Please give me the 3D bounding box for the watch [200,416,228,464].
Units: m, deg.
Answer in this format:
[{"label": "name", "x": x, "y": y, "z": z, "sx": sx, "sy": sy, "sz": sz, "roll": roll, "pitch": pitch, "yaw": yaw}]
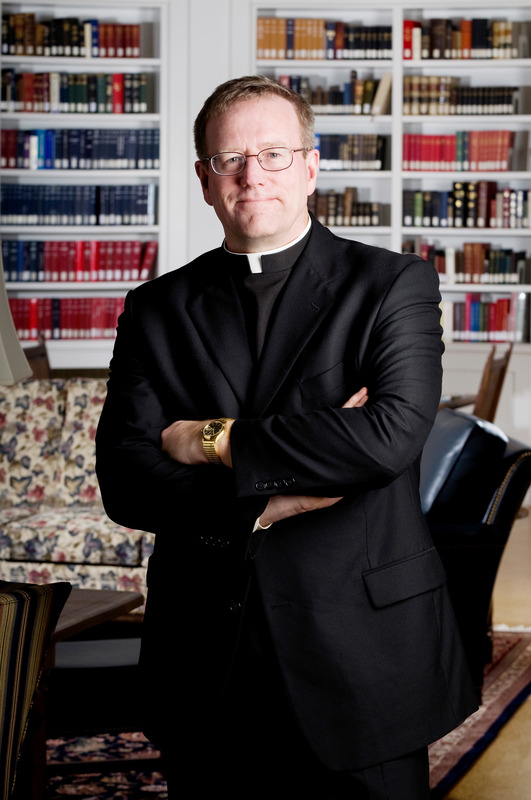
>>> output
[{"label": "watch", "x": -0.066, "y": 0.050, "z": 0.978, "sx": 0.033, "sy": 0.054, "sz": 0.055, "roll": -6, "pitch": 39, "yaw": 14}]
